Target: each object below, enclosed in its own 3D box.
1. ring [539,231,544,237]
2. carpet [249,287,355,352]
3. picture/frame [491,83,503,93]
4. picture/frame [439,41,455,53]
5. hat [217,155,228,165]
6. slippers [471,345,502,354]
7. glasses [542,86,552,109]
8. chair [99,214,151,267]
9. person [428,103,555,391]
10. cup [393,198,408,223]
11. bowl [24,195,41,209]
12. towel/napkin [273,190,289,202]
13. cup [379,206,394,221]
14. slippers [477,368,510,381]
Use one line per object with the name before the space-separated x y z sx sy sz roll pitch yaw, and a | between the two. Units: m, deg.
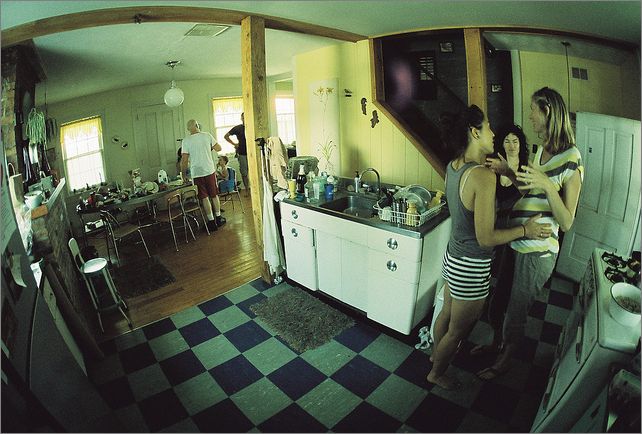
ring | 1.699 0.145 3.832 0.011 0.029 0.043 21 36 15
carpet | -0.170 1.037 5.037 0.505 0.119 0.697 -17 22 -34
picture/frame | 1.397 -0.989 3.954 0.061 0.071 0.104 -18 23 -34
picture/frame | 1.043 -1.361 4.119 0.051 0.089 0.173 -15 20 -26
hat | -1.576 -0.903 8.234 0.160 0.169 0.210 -1 -2 -31
slippers | 1.506 1.216 4.643 0.321 0.097 0.133 -1 -23 9
glasses | 1.677 -0.853 3.689 0.035 0.131 0.102 2 -2 11
chair | -2.687 0.366 6.808 0.439 0.662 0.390 -19 29 -32
person | 1.263 0.314 4.057 0.860 2.314 0.400 -3 18 11
cup | 0.742 -0.035 4.627 0.138 0.210 0.106 -2 18 14
bowl | -2.792 -0.127 4.873 0.157 0.123 0.142 0 10 31
towel/napkin | -0.421 -0.185 5.395 0.130 0.046 0.128 -30 31 -3
cup | 0.612 -0.009 4.678 0.099 0.121 0.133 2 16 8
slippers | 1.489 1.362 4.352 0.289 0.114 0.097 -4 61 18
